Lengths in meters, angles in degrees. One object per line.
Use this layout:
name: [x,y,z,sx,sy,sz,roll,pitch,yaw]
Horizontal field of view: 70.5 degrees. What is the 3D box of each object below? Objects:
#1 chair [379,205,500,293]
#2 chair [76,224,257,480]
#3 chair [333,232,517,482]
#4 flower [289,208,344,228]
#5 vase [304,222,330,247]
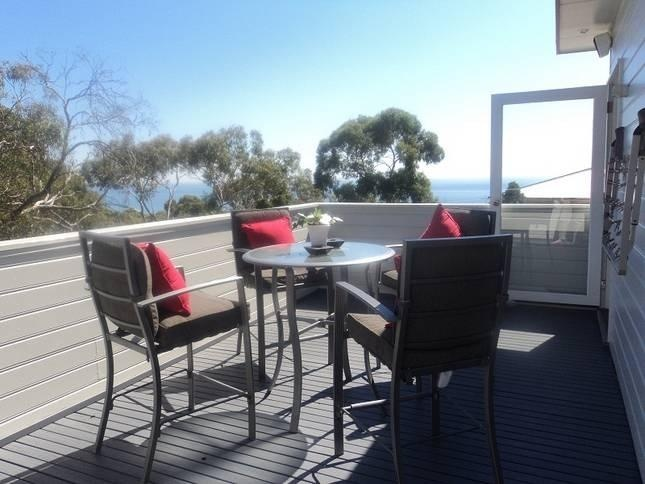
chair: [0.904,-0.013,3.719,0.761,0.819,0.784,-1,-2,-3]
chair: [-0.903,0.551,2.675,0.769,1.322,0.861,6,15,42]
chair: [0.473,0.596,2.372,0.896,1.308,0.475,3,13,32]
flower: [-0.059,-0.183,3.457,0.251,0.147,0.448,-9,12,-20]
vase: [-0.034,-0.054,3.354,0.146,0.126,0.154,0,-1,-4]
